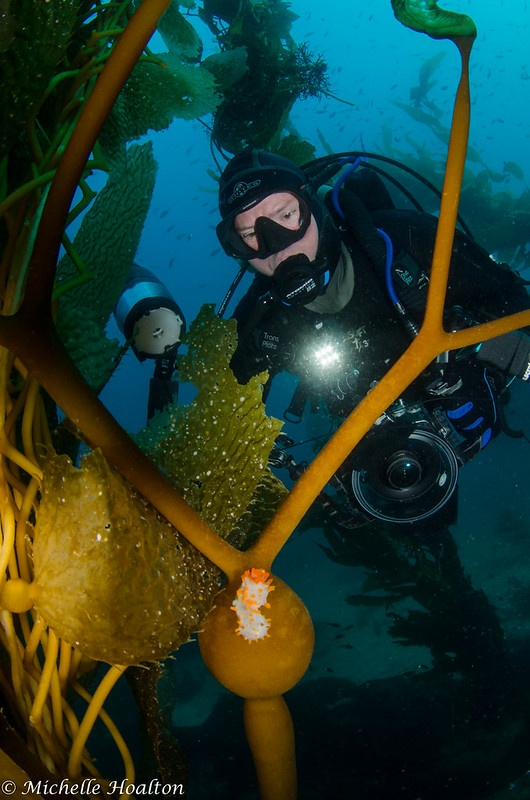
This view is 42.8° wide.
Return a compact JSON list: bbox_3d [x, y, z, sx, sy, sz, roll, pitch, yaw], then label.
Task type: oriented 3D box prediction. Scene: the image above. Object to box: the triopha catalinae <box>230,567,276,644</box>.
[{"bbox_3d":[-0.014,0.254,0.837,0.053,0.038,0.078,7,81,-26],"label":"triopha catalinae"}]
